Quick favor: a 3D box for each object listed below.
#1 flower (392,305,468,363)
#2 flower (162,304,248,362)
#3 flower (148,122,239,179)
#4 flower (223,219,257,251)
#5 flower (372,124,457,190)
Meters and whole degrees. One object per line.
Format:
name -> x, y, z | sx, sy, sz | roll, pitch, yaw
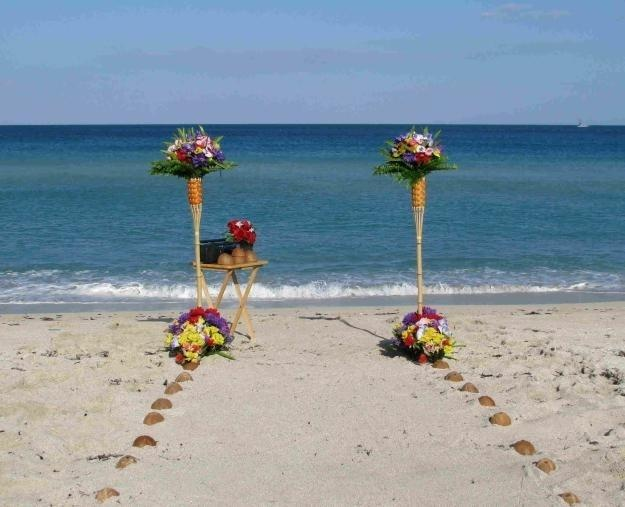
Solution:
flower -> 1.670, 1.182, 11.892 | 0.680, 0.686, 0.836 | -6, 9, -35
flower -> -1.790, 1.133, 12.057 | 1.037, 0.703, 0.880 | -7, -17, 3
flower -> -2.019, -1.487, 12.491 | 1.373, 0.572, 1.247 | -8, -15, 9
flower -> -1.159, -0.292, 12.762 | 0.615, 0.439, 0.527 | 9, 2, -13
flower -> 1.509, -1.433, 12.154 | 1.105, 0.841, 1.319 | -1, 7, 4
